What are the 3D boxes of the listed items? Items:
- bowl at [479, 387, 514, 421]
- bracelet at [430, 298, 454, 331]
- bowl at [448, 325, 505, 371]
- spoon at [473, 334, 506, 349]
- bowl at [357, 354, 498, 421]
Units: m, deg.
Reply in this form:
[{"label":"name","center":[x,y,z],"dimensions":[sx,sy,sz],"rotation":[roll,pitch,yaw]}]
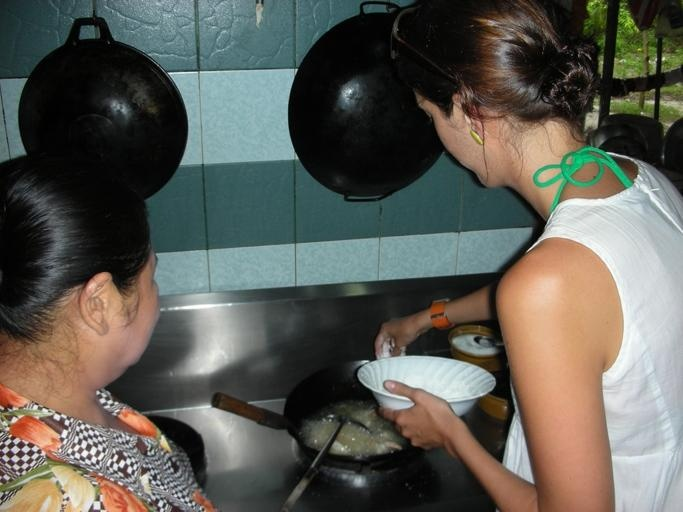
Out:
[{"label":"bowl","center":[0.378,0.362,1.400],"dimensions":[0.072,0.032,0.074],"rotation":[-1,15,0]},{"label":"bracelet","center":[0.238,0.140,1.380],"dimensions":[0.047,0.074,0.066],"rotation":[-8,-21,27]},{"label":"bowl","center":[0.361,0.230,1.479],"dimensions":[0.153,0.039,0.160],"rotation":[3,22,-1]},{"label":"spoon","center":[0.382,0.220,1.481],"dimensions":[0.049,0.011,0.034],"rotation":[10,40,-12]},{"label":"bowl","center":[0.178,0.273,1.286],"dimensions":[0.181,0.050,0.182],"rotation":[2,12,0]}]
